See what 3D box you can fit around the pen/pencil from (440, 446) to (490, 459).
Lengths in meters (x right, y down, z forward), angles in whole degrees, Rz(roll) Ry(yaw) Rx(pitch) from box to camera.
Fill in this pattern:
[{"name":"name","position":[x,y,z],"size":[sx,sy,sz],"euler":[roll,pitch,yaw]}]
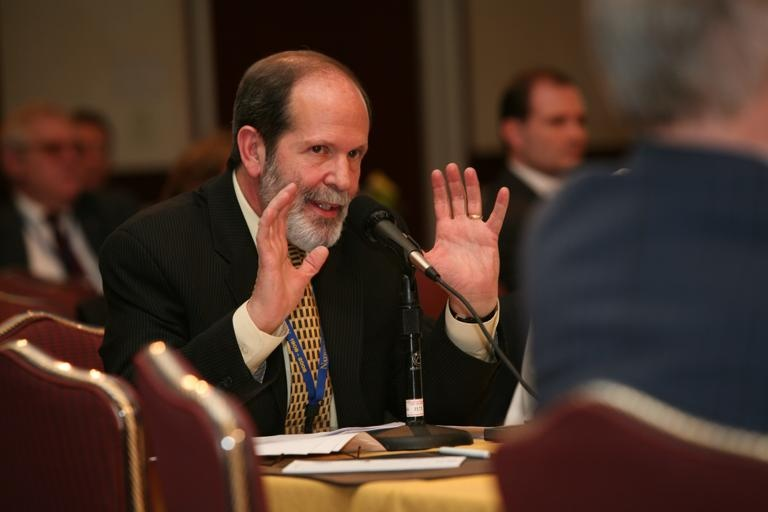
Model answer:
[{"name":"pen/pencil","position":[0.170,0.421,1.602],"size":[0.095,0.019,0.020],"euler":[-5,4,43]}]

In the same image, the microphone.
[{"name":"microphone","position":[0.022,-0.052,1.950],"size":[0.086,0.092,0.328],"euler":[27,7,-36]}]
